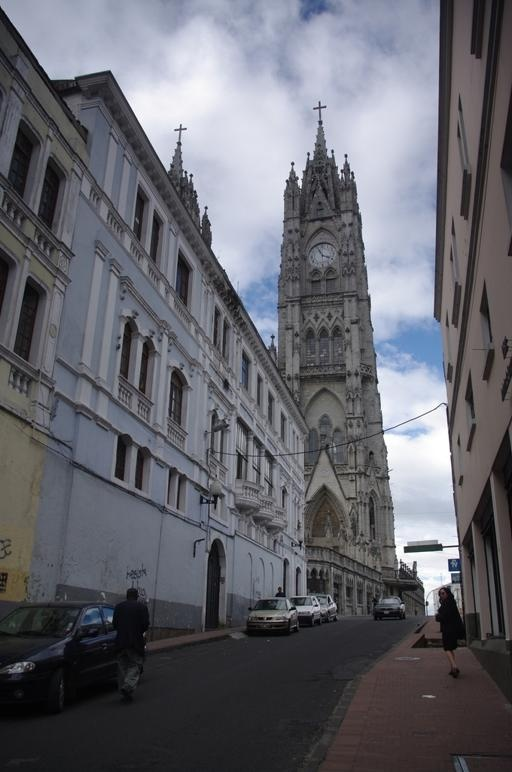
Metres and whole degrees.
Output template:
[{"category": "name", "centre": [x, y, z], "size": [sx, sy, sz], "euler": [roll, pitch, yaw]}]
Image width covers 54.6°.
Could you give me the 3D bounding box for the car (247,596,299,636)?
[{"category": "car", "centre": [0.714, 10.276, 22.080], "size": [1.842, 1.504, 2.465], "euler": [-6, -23, 16]}]

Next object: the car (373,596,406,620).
[{"category": "car", "centre": [10.164, 16.850, 37.463], "size": [3.139, 1.574, 1.837], "euler": [18, -27, -35]}]

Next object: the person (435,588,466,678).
[{"category": "person", "centre": [3.936, 4.871, 9.919], "size": [0.464, 1.512, 2.415], "euler": [-6, -23, 20]}]
